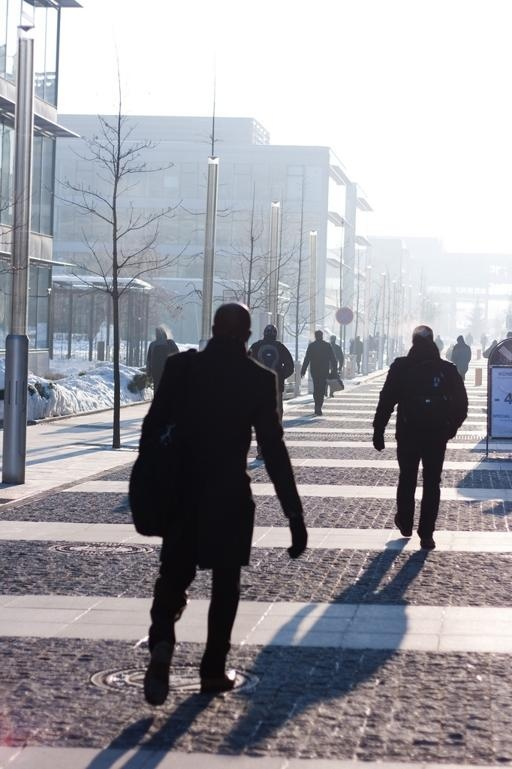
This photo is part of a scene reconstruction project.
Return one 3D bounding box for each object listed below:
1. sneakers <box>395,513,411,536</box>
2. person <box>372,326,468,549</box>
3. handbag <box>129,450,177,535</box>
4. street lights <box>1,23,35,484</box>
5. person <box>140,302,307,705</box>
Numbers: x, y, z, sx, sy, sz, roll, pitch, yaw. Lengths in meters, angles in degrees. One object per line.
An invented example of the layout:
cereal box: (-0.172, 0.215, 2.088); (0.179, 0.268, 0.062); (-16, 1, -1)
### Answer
sneakers: (1.270, 1.235, 7.135); (0.085, 0.248, 0.105); (-32, 19, -27)
person: (1.388, 0.411, 6.947); (0.717, 1.396, 0.520); (4, 2, 14)
handbag: (-0.353, 0.405, 3.098); (0.215, 0.285, 0.075); (14, 6, 25)
street lights: (-2.844, -1.530, 9.982); (0.342, 5.575, 0.654); (3, 2, -16)
person: (-0.124, 0.429, 3.168); (0.657, 1.514, 0.380); (3, 2, -12)
